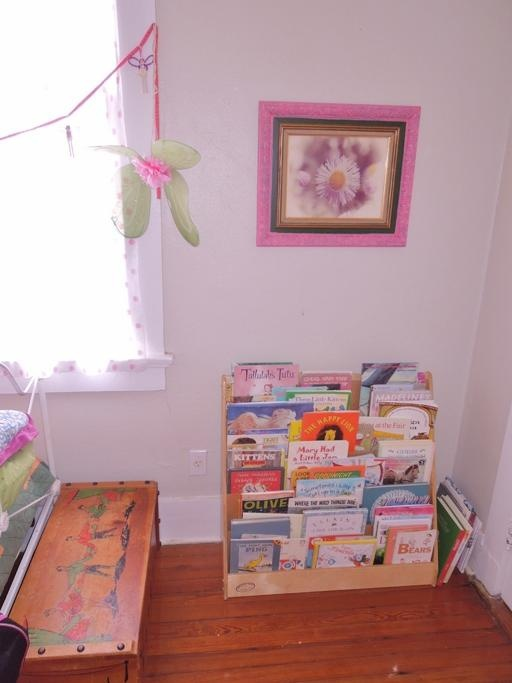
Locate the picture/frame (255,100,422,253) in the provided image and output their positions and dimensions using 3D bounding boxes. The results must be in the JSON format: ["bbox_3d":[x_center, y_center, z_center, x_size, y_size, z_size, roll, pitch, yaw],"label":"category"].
[{"bbox_3d":[0.249,-0.549,1.686,0.511,0.462,0.035,-1,25,-8],"label":"picture/frame"}]

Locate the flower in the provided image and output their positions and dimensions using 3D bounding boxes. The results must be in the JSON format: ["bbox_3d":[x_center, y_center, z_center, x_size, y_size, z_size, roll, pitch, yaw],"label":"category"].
[{"bbox_3d":[-0.287,-0.446,1.491,0.308,0.299,0.117,7,32,11],"label":"flower"}]
